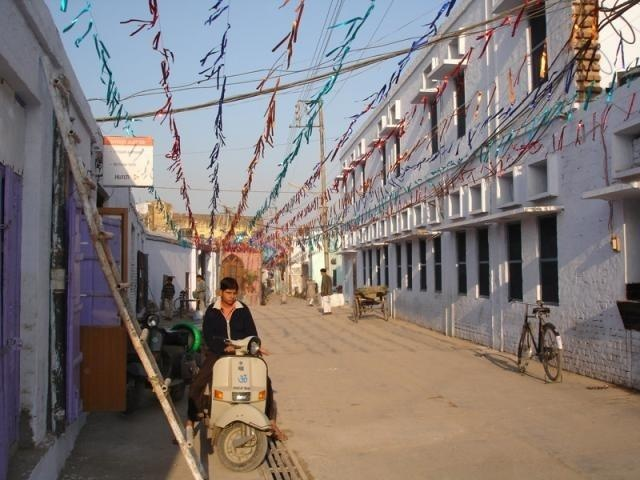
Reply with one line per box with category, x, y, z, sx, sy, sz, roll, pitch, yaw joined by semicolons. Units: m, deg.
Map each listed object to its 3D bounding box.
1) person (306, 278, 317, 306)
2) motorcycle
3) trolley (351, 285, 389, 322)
person;-0.483;3.573;40.347;0.992;1.489;1.041;-1;0;22
motorcycle;-0.986;1.994;7.019;0.758;1.559;0.756;-1;0;-8
trolley;1.823;2.269;21.194;1.086;1.283;2.197;-9;8;-5
